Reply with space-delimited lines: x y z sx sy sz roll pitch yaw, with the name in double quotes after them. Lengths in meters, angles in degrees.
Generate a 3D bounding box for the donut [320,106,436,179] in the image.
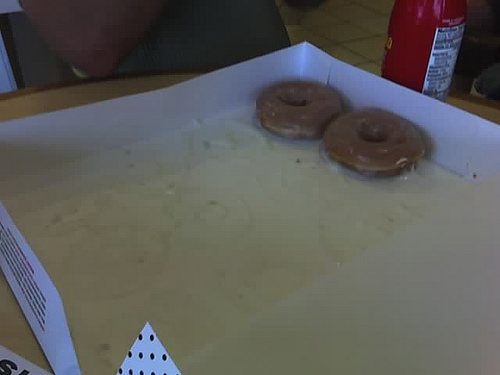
0.218 -0.084 0.961 0.125 0.042 0.141 14 44 19 "donut"
